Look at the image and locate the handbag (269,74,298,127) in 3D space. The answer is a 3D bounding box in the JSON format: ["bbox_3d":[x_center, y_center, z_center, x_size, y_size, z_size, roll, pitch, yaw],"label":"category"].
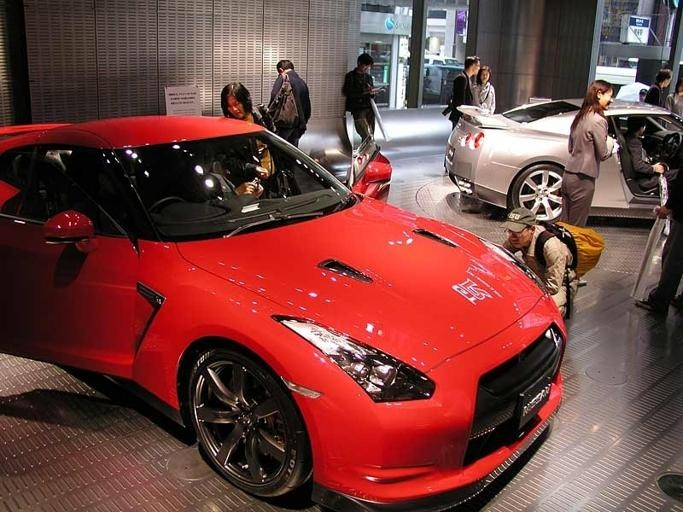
[{"bbox_3d":[-0.960,-2.740,7.349,0.489,0.922,0.783,4,29,-2],"label":"handbag"}]

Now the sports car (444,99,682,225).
[{"bbox_3d":[3.431,-1.491,6.397,3.413,1.061,1.803,-7,38,-1],"label":"sports car"}]

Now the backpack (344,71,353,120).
[{"bbox_3d":[0.130,-3.399,8.928,0.284,0.703,0.528,4,32,0],"label":"backpack"}]

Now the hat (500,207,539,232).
[{"bbox_3d":[1.494,-0.295,3.577,0.185,0.147,0.277,11,16,39],"label":"hat"}]
